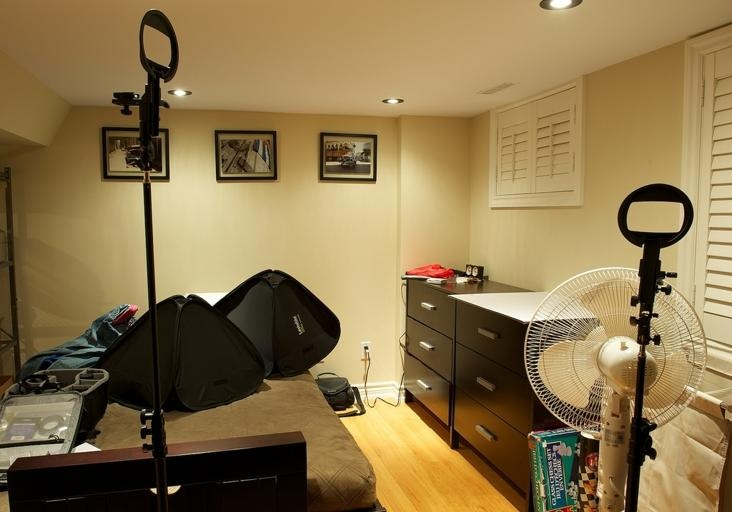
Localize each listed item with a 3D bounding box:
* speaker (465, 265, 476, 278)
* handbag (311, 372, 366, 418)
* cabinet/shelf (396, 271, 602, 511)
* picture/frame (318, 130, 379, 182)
[{"bbox_3d":[0.873,0.126,4.572,0.022,0.076,0.079,8,-6,-36],"label":"speaker"},{"bbox_3d":[-0.224,1.144,4.575,0.343,0.183,0.457,3,1,-41],"label":"handbag"},{"bbox_3d":[0.802,0.847,3.322,0.519,1.026,1.376,0,4,-11],"label":"cabinet/shelf"},{"bbox_3d":[-0.177,-0.854,4.680,0.441,0.375,0.034,0,6,-6],"label":"picture/frame"}]
